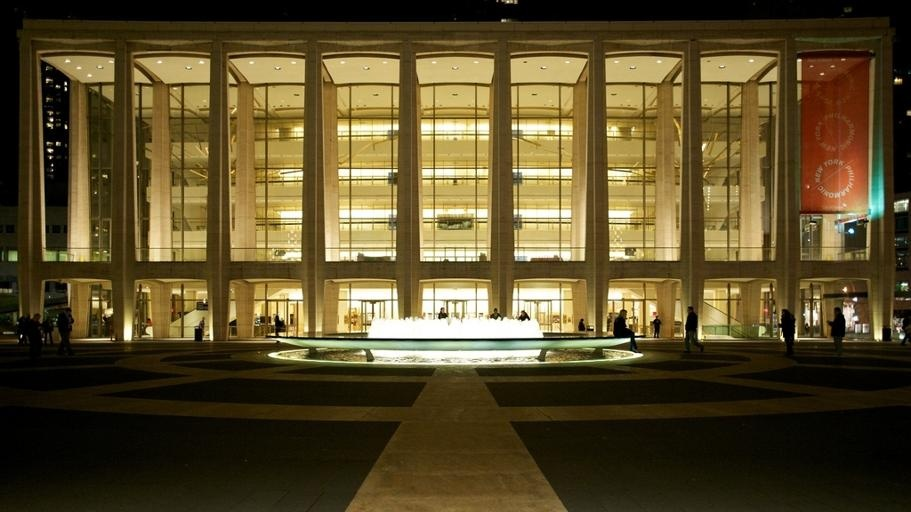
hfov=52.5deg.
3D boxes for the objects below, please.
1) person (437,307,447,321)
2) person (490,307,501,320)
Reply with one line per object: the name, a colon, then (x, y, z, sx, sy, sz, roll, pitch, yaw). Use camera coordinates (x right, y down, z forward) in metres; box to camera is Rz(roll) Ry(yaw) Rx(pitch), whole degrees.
person: (-1.066, 4.602, 73.493, 0.903, 0.845, 0.538, 2, -16, -16)
person: (3.157, 4.510, 72.669, 0.836, 0.973, 0.461, -3, -11, 9)
